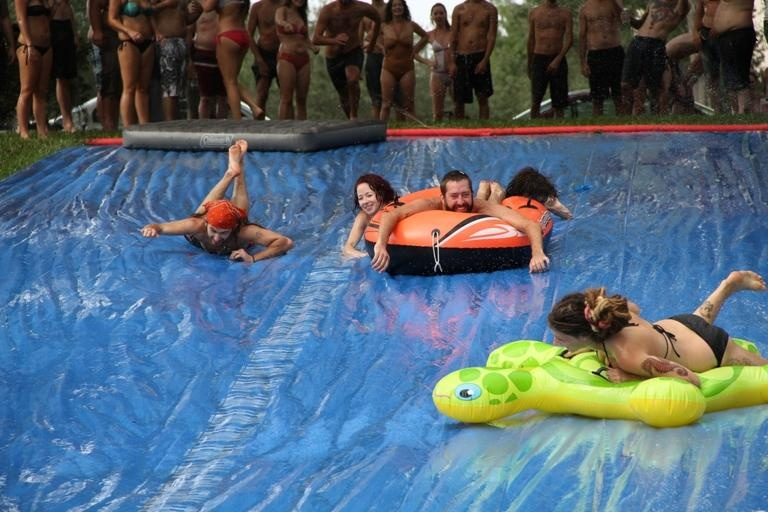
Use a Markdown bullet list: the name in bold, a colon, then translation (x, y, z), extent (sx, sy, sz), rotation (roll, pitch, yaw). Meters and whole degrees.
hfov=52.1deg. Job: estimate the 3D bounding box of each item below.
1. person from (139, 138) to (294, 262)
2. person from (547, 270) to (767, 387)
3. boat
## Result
- **person**: translation (-1.548, -0.525, 7.797), extent (1.058, 0.672, 1.592), rotation (0, 23, 3)
- **person**: translation (1.803, 0.501, 5.291), extent (1.192, 0.463, 0.736), rotation (-12, 21, 3)
- **boat**: translation (0.669, -0.209, 7.315), extent (1.192, 0.396, 1.171), rotation (-7, 16, -12)
